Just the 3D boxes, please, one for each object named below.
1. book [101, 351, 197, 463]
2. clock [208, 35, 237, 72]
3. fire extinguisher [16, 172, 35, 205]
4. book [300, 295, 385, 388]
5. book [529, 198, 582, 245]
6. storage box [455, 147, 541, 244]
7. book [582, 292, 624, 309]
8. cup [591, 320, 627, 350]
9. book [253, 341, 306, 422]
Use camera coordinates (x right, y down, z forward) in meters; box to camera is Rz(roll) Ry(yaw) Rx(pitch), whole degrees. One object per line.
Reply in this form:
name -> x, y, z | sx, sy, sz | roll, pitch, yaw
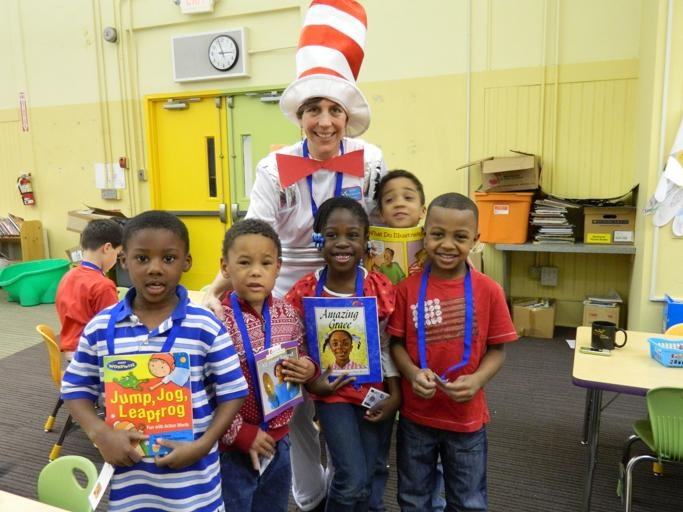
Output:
book -> -0.697, 0.552, 1.998 | 0.363, 0.454, 0.030 | -2, 0, -7
clock -> -1.312, -2.271, 6.153 | 0.383, 0.411, 0.053 | 1, 3, 27
fire extinguisher -> -4.266, -0.894, 7.458 | 0.275, 0.432, 0.148 | 3, 11, 25
book -> -0.004, 0.375, 2.387 | 0.363, 0.450, 0.031 | -2, 3, 3
book -> 2.029, -0.356, 5.278 | 0.474, 0.431, 0.508 | 3, 11, 23
storage box -> 1.551, -0.551, 5.512 | 0.786, 0.912, 0.902 | 1, 0, 17
book -> 2.440, 0.403, 5.190 | 0.318, 0.113, 0.396 | 4, 11, 28
cup -> 1.428, 0.431, 3.030 | 0.199, 0.145, 0.131 | 1, 2, 22
book -> -0.262, 0.500, 2.239 | 0.027, 0.366, 0.278 | 0, 11, 42
